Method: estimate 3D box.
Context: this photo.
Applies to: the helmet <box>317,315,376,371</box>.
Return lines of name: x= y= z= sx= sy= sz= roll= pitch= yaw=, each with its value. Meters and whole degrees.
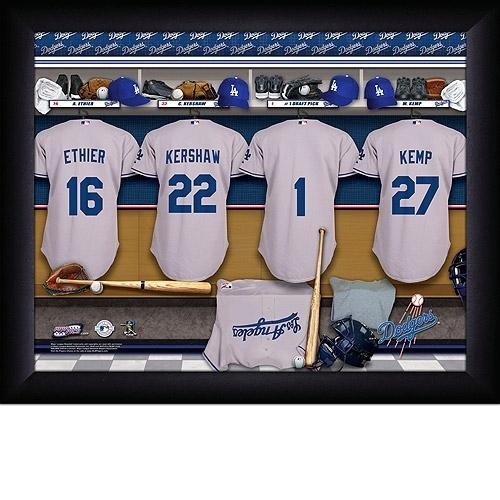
helmet: x=0.658 y=0.597 z=3.809 sx=0.397 sy=0.353 sz=0.330 roll=11 pitch=8 yaw=-10

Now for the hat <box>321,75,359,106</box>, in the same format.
hat: x=0.577 y=-1.064 z=3.767 sx=0.240 sy=0.151 sz=0.293 roll=23 pitch=36 yaw=31

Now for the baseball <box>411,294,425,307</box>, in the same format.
baseball: x=1.112 y=0.325 z=3.826 sx=0.074 sy=0.077 sz=0.039 roll=35 pitch=-3 yaw=3

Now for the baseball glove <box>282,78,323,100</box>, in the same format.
baseball glove: x=0.339 y=-1.041 z=3.730 sx=0.188 sy=0.098 sz=0.147 roll=-2 pitch=16 yaw=-5

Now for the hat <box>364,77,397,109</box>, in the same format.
hat: x=0.850 y=-1.027 z=3.740 sx=0.213 sy=0.219 sz=0.113 roll=5 pitch=5 yaw=12

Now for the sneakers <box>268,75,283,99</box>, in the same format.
sneakers: x=0.171 y=-1.082 z=3.775 sx=0.077 sy=0.151 sz=0.056 roll=1 pitch=2 yaw=0

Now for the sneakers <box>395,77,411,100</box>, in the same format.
sneakers: x=1.000 y=-1.059 z=3.760 sx=0.091 sy=0.151 sz=0.044 roll=1 pitch=-11 yaw=10

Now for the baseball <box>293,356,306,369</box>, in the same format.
baseball: x=0.307 y=0.698 z=3.610 sx=0.065 sy=0.068 sz=0.063 roll=1 pitch=-10 yaw=-4

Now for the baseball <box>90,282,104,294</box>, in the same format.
baseball: x=-1.012 y=0.249 z=3.821 sx=0.086 sy=0.098 sz=0.050 roll=2 pitch=5 yaw=-17

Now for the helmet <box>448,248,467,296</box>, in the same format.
helmet: x=1.387 y=0.154 z=3.798 sx=0.099 sy=0.273 sz=0.191 roll=-4 pitch=-4 yaw=-1

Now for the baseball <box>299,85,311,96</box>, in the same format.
baseball: x=0.352 y=-1.035 z=3.712 sx=0.070 sy=0.063 sz=0.041 roll=4 pitch=5 yaw=5

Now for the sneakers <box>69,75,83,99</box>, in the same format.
sneakers: x=-1.140 y=-1.078 z=3.786 sx=0.080 sy=0.159 sz=0.064 roll=-6 pitch=4 yaw=-14

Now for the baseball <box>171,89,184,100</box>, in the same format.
baseball: x=-0.465 y=-1.014 z=3.734 sx=0.073 sy=0.077 sz=0.034 roll=3 pitch=5 yaw=-8

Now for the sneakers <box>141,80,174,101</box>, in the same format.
sneakers: x=-0.598 y=-1.063 z=3.807 sx=0.260 sy=0.108 sz=0.094 roll=9 pitch=25 yaw=-7

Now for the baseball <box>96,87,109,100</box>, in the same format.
baseball: x=-0.952 y=-1.027 z=3.746 sx=0.059 sy=0.082 sz=0.081 roll=3 pitch=27 yaw=-10

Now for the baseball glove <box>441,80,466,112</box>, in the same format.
baseball glove: x=1.317 y=-1.009 z=3.731 sx=0.151 sy=0.191 sz=0.090 roll=6 pitch=6 yaw=24

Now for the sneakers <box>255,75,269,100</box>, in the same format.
sneakers: x=0.077 y=-1.058 z=3.729 sx=0.061 sy=0.066 sz=0.169 roll=-1 pitch=50 yaw=1

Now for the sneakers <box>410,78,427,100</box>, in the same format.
sneakers: x=1.099 y=-1.056 z=3.753 sx=0.066 sy=0.192 sz=0.074 roll=0 pitch=-27 yaw=-1
